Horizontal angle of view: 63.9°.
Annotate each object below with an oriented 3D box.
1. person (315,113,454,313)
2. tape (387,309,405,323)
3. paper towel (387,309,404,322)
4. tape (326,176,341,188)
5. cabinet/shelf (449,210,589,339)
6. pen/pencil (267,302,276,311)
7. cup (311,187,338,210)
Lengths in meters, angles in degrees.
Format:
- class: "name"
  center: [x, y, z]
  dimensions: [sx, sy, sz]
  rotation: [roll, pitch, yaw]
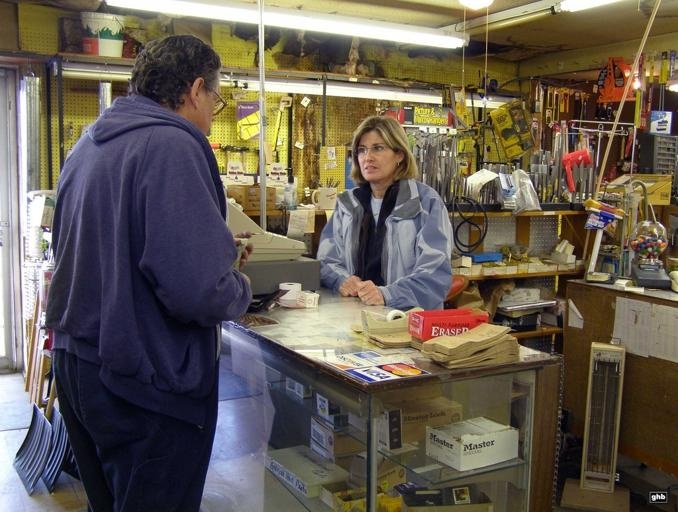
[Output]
- class: "person"
  center: [0.220, -0.273, 3.197]
  dimensions: [0.650, 1.083, 0.839]
  rotation: [-8, 12, -38]
- class: "tape"
  center: [0.231, 0.246, 2.228]
  dimensions: [0.068, 0.064, 0.036]
  rotation: [-3, 14, -15]
- class: "paper towel"
  center: [0.226, 0.246, 2.225]
  dimensions: [0.066, 0.062, 0.034]
  rotation: [-3, 14, -22]
- class: "tape"
  center: [-0.054, -0.655, 4.856]
  dimensions: [0.128, 0.141, 0.132]
  rotation: [-2, 13, -2]
- class: "cabinet/shelf"
  center: [1.421, 0.146, 4.366]
  dimensions: [1.158, 1.061, 0.364]
  rotation: [-2, 1, -24]
- class: "pen/pencil"
  center: [-0.327, 0.244, 2.625]
  dimensions: [0.021, 0.011, 0.030]
  rotation: [-22, 11, 38]
- class: "cup"
  center: [-0.111, -0.455, 4.464]
  dimensions: [0.227, 0.171, 0.144]
  rotation: [-5, 10, -27]
